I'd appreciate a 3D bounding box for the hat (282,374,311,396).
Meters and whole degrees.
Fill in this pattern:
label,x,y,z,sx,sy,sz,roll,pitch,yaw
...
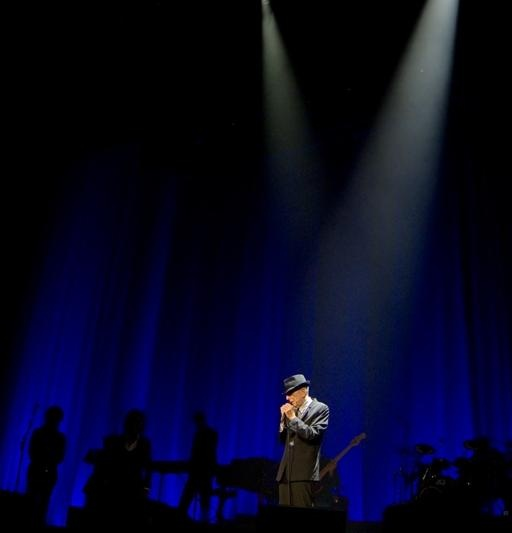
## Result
label,x,y,z,sx,sy,sz,roll,pitch,yaw
hat,0.251,0.771,3.519,0.196,0.096,0.188,-32,-3,-9

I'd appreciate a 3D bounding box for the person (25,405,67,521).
label,x,y,z,sx,sy,sz,roll,pitch,yaw
person,-1.960,1.812,4.933,0.317,1.028,0.188,12,-22,-17

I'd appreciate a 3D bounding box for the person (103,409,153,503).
label,x,y,z,sx,sy,sz,roll,pitch,yaw
person,-1.188,1.731,4.920,0.470,0.845,0.284,11,-22,-12

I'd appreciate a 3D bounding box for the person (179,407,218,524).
label,x,y,z,sx,sy,sz,roll,pitch,yaw
person,-0.546,2.013,5.003,0.306,1.332,0.285,1,10,-15
